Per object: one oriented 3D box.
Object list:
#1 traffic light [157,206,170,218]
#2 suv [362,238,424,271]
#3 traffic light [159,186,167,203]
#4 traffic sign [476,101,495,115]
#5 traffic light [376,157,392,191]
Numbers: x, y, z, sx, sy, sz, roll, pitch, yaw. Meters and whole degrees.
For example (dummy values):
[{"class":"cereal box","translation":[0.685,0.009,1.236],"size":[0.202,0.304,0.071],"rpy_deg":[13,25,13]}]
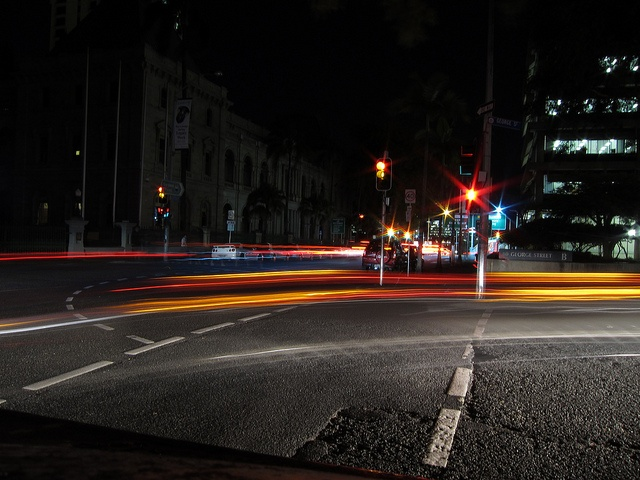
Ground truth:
[{"class":"traffic light","translation":[-9.431,-1.684,32.443],"size":[0.577,0.640,0.590],"rpy_deg":[-2,1,-25]},{"class":"suv","translation":[4.655,0.929,34.657],"size":[1.661,1.433,3.941],"rpy_deg":[0,3,23]},{"class":"traffic light","translation":[-9.512,-2.722,32.538],"size":[0.515,1.077,1.121],"rpy_deg":[-1,1,-17]},{"class":"traffic sign","translation":[5.224,-4.174,17.027],"size":[0.403,0.474,0.573],"rpy_deg":[0,1,3]},{"class":"traffic light","translation":[2.394,-2.509,20.469],"size":[0.529,1.426,1.890],"rpy_deg":[0,1,5]}]
